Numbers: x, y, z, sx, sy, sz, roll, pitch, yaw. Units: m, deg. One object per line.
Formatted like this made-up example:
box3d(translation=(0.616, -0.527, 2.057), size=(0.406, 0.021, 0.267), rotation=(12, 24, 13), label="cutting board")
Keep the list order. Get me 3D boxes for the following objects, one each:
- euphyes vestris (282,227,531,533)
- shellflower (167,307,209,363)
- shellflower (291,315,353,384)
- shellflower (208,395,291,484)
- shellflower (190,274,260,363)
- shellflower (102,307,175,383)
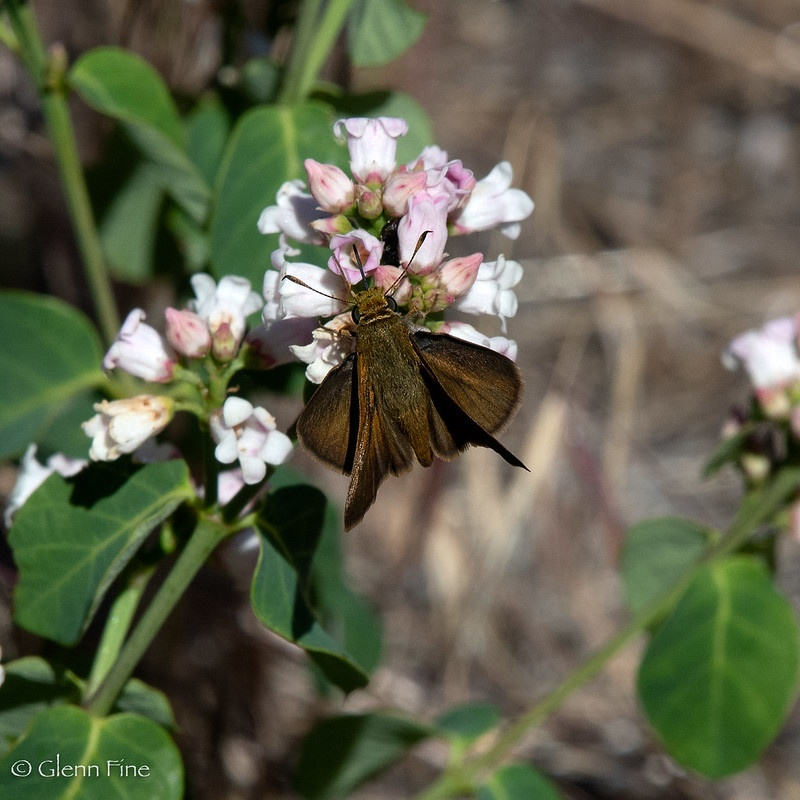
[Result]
box3d(translation=(-0.024, -0.035, 1.700), size=(0.456, 0.547, 0.200), rotation=(5, 38, 14), label="euphyes vestris")
box3d(translation=(-0.358, -0.111, 1.583), size=(0.059, 0.096, 0.061), rotation=(25, 35, 19), label="shellflower")
box3d(translation=(-0.130, -0.092, 1.653), size=(0.125, 0.105, 0.046), rotation=(-40, 20, -27), label="shellflower")
box3d(translation=(-0.248, 0.067, 1.567), size=(0.129, 0.147, 0.064), rotation=(-9, 20, -15), label="shellflower")
box3d(translation=(-0.317, -0.151, 1.667), size=(0.128, 0.155, 0.064), rotation=(10, -10, -17), label="shellflower")
box3d(translation=(-0.449, -0.083, 1.627), size=(0.136, 0.096, 0.058), rotation=(32, -18, -34), label="shellflower")
